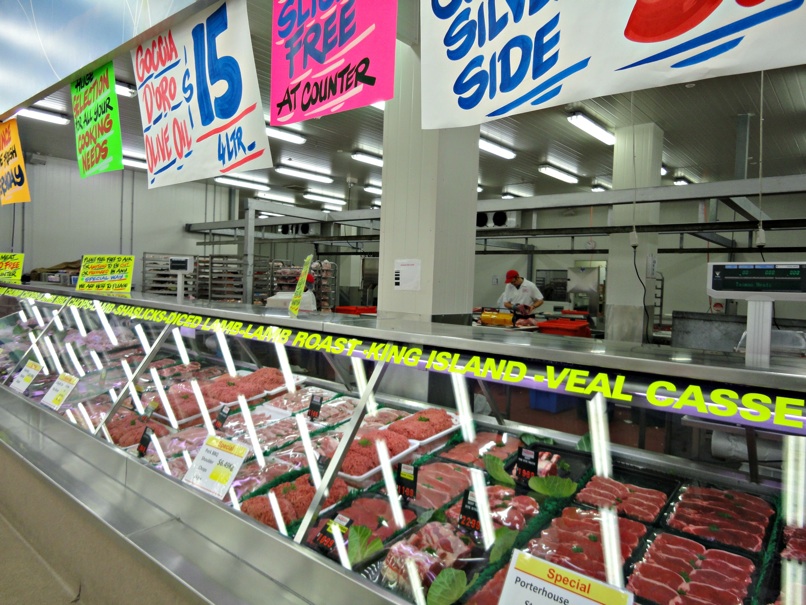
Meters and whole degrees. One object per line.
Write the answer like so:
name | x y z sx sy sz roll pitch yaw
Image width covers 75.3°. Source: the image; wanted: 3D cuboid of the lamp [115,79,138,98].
lamp | -3.894 -2.936 7.221 0.205 0.193 0.367 3 2 -24

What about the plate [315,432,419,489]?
plate | -0.172 0.715 2.511 0.408 0.114 0.295 -18 10 -35

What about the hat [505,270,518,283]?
hat | 1.811 -0.443 8.535 0.173 0.125 0.239 9 39 41

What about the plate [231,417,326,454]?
plate | -0.673 0.684 2.666 0.271 0.036 0.185 -12 18 -42

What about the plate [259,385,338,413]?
plate | -0.614 0.549 2.963 0.192 0.020 0.207 9 15 38

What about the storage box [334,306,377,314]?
storage box | -0.722 0.113 7.588 0.248 0.079 0.273 5 6 42

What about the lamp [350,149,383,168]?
lamp | -0.718 -2.710 9.997 0.551 0.260 1.345 3 2 -2

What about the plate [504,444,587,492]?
plate | 0.626 0.702 2.246 0.066 0.223 0.242 -11 -1 -22

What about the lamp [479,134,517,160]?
lamp | 1.598 -2.619 8.742 0.201 0.051 1.290 -29 -16 31

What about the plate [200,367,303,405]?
plate | -0.955 0.482 2.982 0.224 0.069 0.322 7 13 23

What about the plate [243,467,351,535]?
plate | -0.487 0.833 2.223 0.197 0.082 0.302 11 13 43

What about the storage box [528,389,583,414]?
storage box | 0.570 0.363 1.919 0.178 0.117 0.093 -4 9 -42

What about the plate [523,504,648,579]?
plate | 0.687 0.858 1.922 0.411 0.101 0.294 1 3 -42

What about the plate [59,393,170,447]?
plate | -1.547 0.567 2.770 0.590 0.025 0.202 25 43 35

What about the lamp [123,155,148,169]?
lamp | -5.725 -2.939 10.943 0.402 0.221 0.468 2 2 -30
